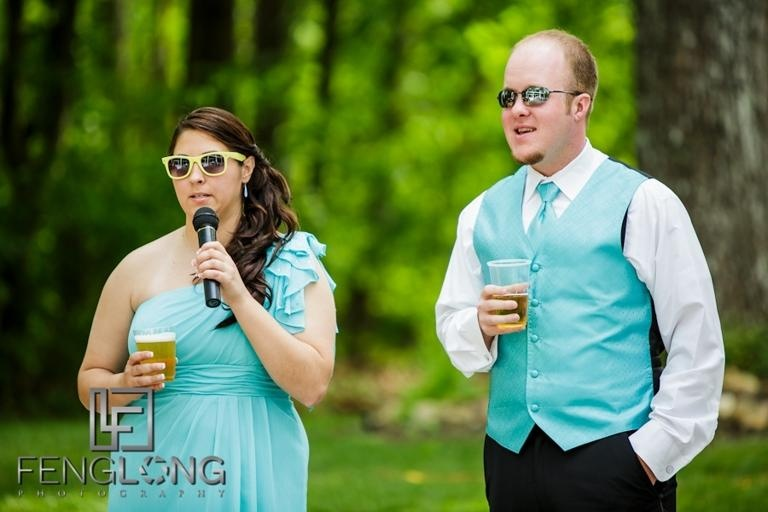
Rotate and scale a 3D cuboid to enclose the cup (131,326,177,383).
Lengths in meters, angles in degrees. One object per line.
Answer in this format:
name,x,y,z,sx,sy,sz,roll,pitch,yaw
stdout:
cup,-1.832,0.682,7.896,0.339,0.372,0.341,-5,-10,-1
